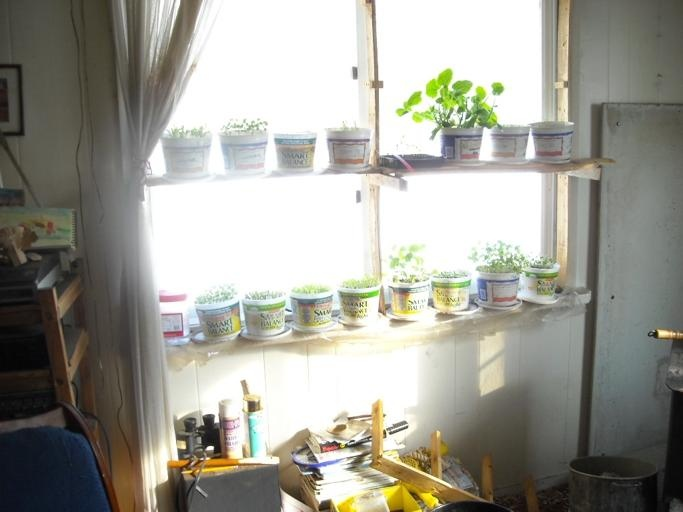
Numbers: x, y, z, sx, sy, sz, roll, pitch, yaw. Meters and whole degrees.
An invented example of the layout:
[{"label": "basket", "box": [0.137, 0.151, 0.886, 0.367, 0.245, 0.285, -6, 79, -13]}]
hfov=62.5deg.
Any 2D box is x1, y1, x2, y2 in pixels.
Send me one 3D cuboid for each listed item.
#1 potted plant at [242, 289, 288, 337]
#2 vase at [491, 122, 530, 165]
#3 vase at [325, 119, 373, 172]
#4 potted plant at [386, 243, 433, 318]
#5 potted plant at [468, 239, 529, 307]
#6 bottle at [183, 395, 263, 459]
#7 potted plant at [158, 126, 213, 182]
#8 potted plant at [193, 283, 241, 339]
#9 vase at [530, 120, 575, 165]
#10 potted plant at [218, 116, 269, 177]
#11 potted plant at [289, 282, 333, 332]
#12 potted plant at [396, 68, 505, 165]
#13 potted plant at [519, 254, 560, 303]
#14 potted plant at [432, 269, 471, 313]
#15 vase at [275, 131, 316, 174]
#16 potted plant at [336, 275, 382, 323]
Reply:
[{"label": "potted plant", "box": [-0.330, 0.236, 2.396, 0.186, 0.190, 0.190, 1, 5, 36]}, {"label": "vase", "box": [0.763, -0.519, 2.534, 0.189, 0.167, 0.211, 1, 18, 12]}, {"label": "vase", "box": [0.025, -0.423, 2.225, 0.176, 0.136, 0.158, -4, 10, -13]}, {"label": "potted plant", "box": [0.298, 0.144, 2.547, 0.160, 0.251, 0.151, 0, -4, 28]}, {"label": "potted plant", "box": [0.742, 0.102, 2.647, 0.225, 0.272, 0.197, 0, 1, -3]}, {"label": "bottle", "box": [-0.481, 0.698, 2.282, 0.226, 0.184, 0.090, -1, 4, -17]}, {"label": "potted plant", "box": [-0.572, -0.374, 2.089, 0.193, 0.150, 0.176, -5, 8, -39]}, {"label": "potted plant", "box": [-0.495, 0.219, 2.324, 0.196, 0.209, 0.201, -7, 11, -11]}, {"label": "vase", "box": [0.952, -0.512, 2.536, 0.187, 0.155, 0.172, 4, 15, 30]}, {"label": "potted plant", "box": [-0.382, -0.448, 2.194, 0.207, 0.237, 0.213, -1, 30, -7]}, {"label": "potted plant", "box": [-0.128, 0.214, 2.452, 0.185, 0.187, 0.187, -5, 8, -22]}, {"label": "potted plant", "box": [0.536, -0.584, 2.500, 0.478, 0.315, 0.377, -3, 6, 9]}, {"label": "potted plant", "box": [0.966, 0.125, 2.740, 0.167, 0.196, 0.183, -3, 9, -25]}, {"label": "potted plant", "box": [0.508, 0.155, 2.623, 0.174, 0.177, 0.182, -1, 11, 4]}, {"label": "vase", "box": [-0.176, -0.400, 2.180, 0.151, 0.137, 0.154, -3, 9, -13]}, {"label": "potted plant", "box": [0.074, 0.191, 2.496, 0.196, 0.201, 0.205, -2, 2, 3]}]
